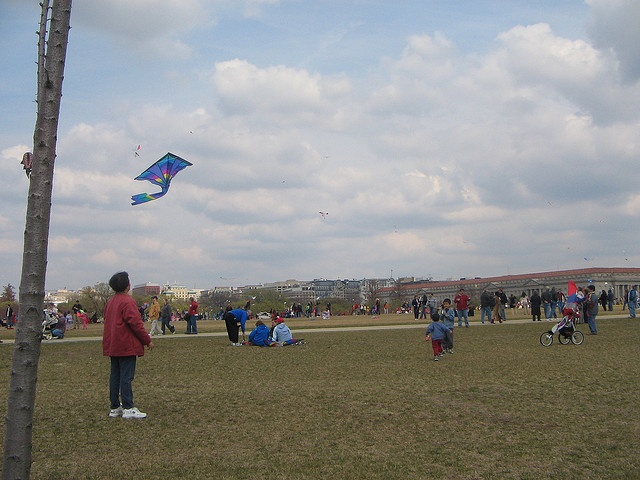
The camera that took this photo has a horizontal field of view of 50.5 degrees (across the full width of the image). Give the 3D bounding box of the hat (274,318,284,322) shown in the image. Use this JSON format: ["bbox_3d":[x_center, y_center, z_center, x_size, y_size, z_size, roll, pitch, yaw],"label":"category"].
[{"bbox_3d":[-1.364,2.680,22.680,0.244,0.170,0.467,-1,-7,-8],"label":"hat"}]

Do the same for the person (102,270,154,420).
[{"bbox_3d":[-3.275,1.773,11.461,0.726,2.415,1.169,1,-7,-18],"label":"person"}]

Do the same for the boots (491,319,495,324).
[{"bbox_3d":[8.530,3.990,33.115,0.131,0.172,0.301,3,-39,7],"label":"boots"}]

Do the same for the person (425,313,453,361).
[{"bbox_3d":[3.158,2.522,17.890,0.620,1.154,2.578,-3,-7,11],"label":"person"}]

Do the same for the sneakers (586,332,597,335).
[{"bbox_3d":[9.109,3.104,22.497,0.344,0.151,0.115,0,-1,10],"label":"sneakers"}]

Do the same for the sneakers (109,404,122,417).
[{"bbox_3d":[-3.440,2.871,11.357,0.236,0.173,0.177,0,-7,-12],"label":"sneakers"}]

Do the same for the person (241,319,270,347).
[{"bbox_3d":[-2.080,3.117,22.573,0.824,0.807,0.725,-1,2,-25],"label":"person"}]

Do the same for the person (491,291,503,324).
[{"bbox_3d":[8.852,3.348,33.579,0.496,1.457,1.923,-3,-7,15],"label":"person"}]

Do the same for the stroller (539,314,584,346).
[{"bbox_3d":[7.065,2.618,19.775,1.347,1.036,0.827,-5,0,-8],"label":"stroller"}]

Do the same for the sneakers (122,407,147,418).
[{"bbox_3d":[-3.096,2.869,11.314,0.438,0.208,0.160,3,-1,-3],"label":"sneakers"}]

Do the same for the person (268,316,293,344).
[{"bbox_3d":[-1.271,3.056,22.700,0.693,0.919,0.766,-1,-6,-4],"label":"person"}]
